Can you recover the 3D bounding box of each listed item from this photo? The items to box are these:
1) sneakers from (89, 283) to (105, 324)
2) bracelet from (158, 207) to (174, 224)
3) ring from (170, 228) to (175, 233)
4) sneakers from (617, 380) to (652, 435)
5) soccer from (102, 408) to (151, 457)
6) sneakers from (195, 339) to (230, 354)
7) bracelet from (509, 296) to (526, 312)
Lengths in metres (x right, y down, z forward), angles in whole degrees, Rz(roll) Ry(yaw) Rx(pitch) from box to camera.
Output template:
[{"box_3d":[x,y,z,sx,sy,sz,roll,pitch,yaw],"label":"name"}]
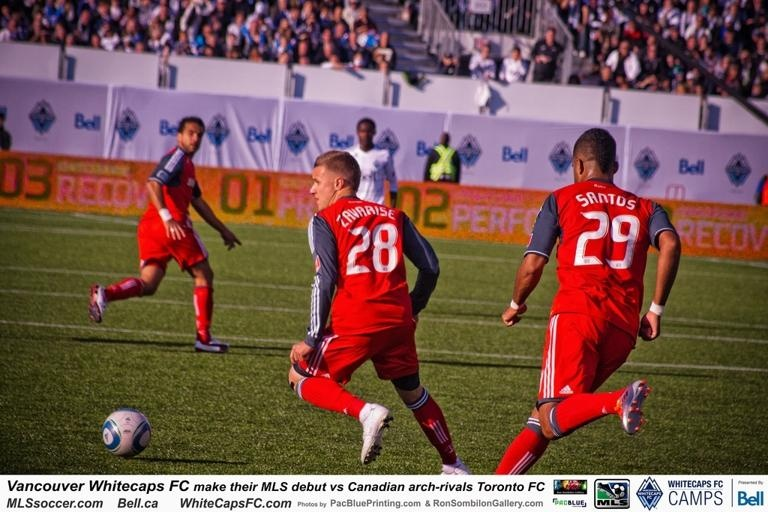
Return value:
[{"box_3d":[-3.344,0.555,12.269,0.162,0.454,0.198,-4,-1,11],"label":"sneakers"},{"box_3d":[-2.576,-0.469,12.415,0.104,0.149,0.099,-27,-15,-8],"label":"bracelet"},{"box_3d":[-2.487,-0.300,12.390,0.065,0.053,0.012,3,9,1],"label":"ring"},{"box_3d":[2.372,1.423,10.068,0.232,0.567,0.272,10,-2,-41],"label":"sneakers"},{"box_3d":[-2.572,1.729,10.687,0.436,0.474,0.450,16,9,35],"label":"soccer"},{"box_3d":[-2.065,1.090,12.725,0.395,0.187,0.147,0,0,-10],"label":"sneakers"},{"box_3d":[1.349,0.490,10.626,0.073,0.101,0.158,-12,-22,28],"label":"bracelet"}]
